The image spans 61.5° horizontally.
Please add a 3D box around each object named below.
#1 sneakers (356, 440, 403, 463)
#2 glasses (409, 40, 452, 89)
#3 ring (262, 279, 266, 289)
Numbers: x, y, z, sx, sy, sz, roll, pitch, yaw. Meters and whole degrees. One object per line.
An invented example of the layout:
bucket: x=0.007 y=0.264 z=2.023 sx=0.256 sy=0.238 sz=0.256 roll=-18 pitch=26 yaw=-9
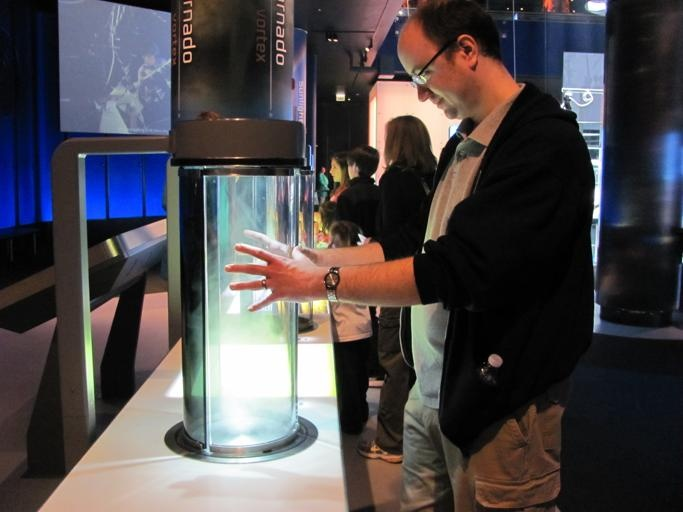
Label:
sneakers: x=0.208 y=1.017 z=3.127 sx=0.230 sy=0.106 sz=0.094 roll=13 pitch=7 yaw=15
glasses: x=0.241 y=-0.513 z=1.531 sx=0.026 sy=0.093 sz=0.088 roll=-32 pitch=3 yaw=5
ring: x=-0.172 y=0.060 z=1.266 sx=0.014 sy=0.015 sz=0.009 roll=0 pitch=5 yaw=-3
